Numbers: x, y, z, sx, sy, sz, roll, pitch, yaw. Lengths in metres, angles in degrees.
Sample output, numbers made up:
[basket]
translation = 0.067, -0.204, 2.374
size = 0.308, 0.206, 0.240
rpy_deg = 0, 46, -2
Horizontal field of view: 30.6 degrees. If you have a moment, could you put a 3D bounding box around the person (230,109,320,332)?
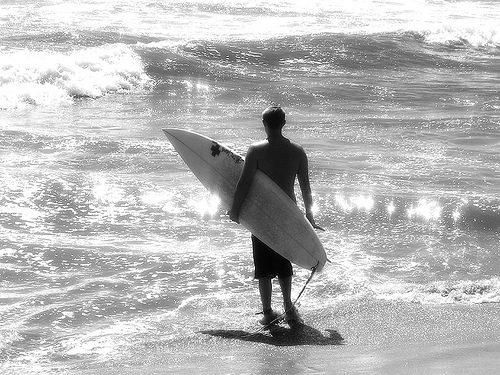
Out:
[person]
translation = 0.317, 0.383, 11.013
size = 1.065, 2.500, 1.364
rpy_deg = 4, 37, 8
